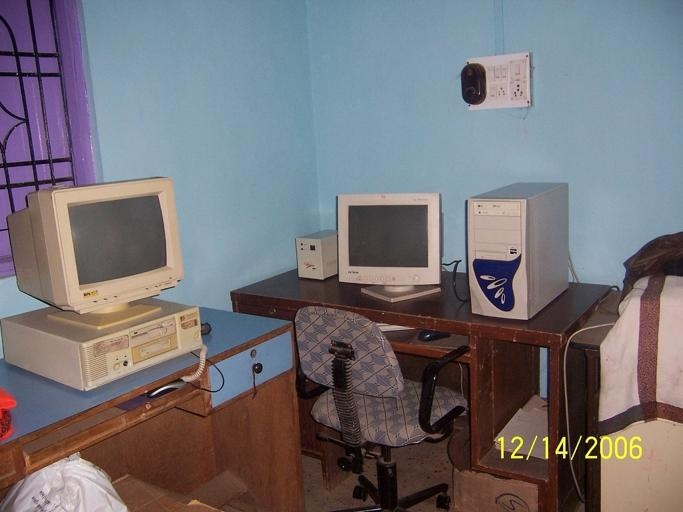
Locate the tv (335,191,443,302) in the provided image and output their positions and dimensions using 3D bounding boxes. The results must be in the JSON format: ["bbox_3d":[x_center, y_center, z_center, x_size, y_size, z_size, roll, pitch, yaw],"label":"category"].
[{"bbox_3d":[0.243,-0.030,2.964,0.651,0.705,0.488,0,3,22],"label":"tv"}]

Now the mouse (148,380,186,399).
[{"bbox_3d":[-0.635,0.482,1.973,0.047,0.021,0.084,10,22,44],"label":"mouse"}]

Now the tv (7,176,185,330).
[{"bbox_3d":[-0.967,-0.084,2.198,0.525,0.558,0.549,4,11,32],"label":"tv"}]
